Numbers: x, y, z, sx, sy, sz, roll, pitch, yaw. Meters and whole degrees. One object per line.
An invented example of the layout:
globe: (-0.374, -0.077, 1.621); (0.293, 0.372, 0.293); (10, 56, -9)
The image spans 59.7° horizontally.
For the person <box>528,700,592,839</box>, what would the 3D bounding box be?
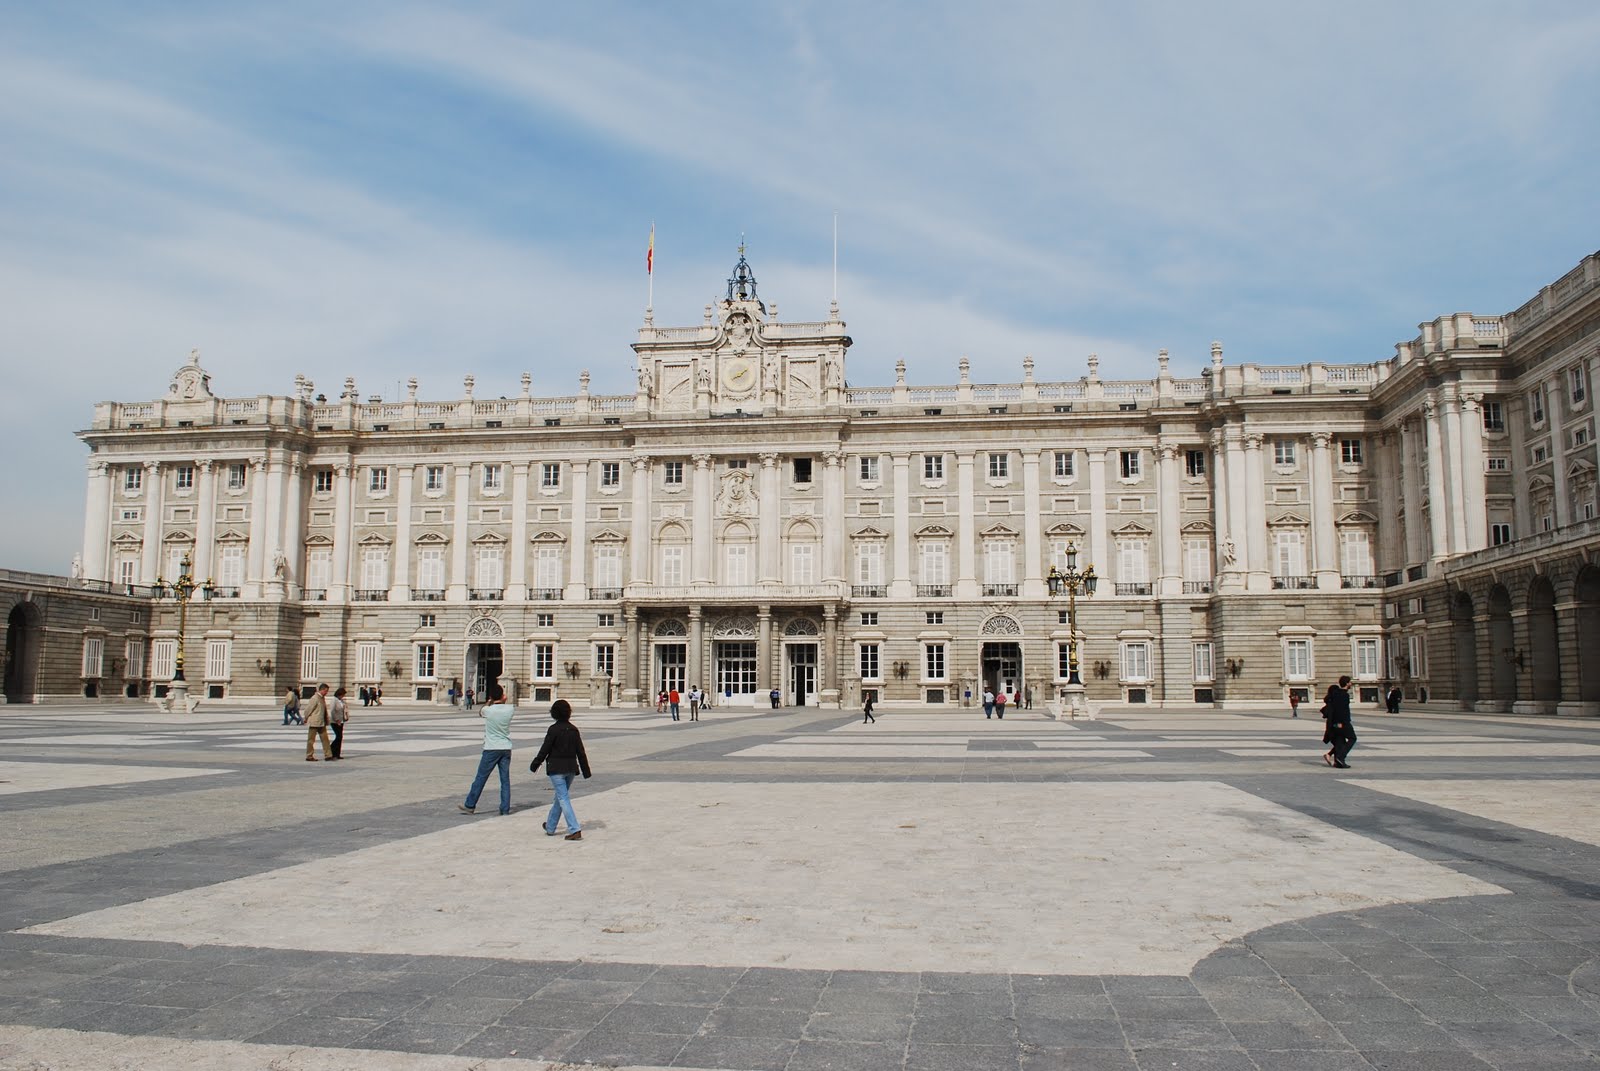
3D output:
person: (-3.636, 3.537, 21.212); (0.754, 2.033, 1.337); (-1, -7, -8)
